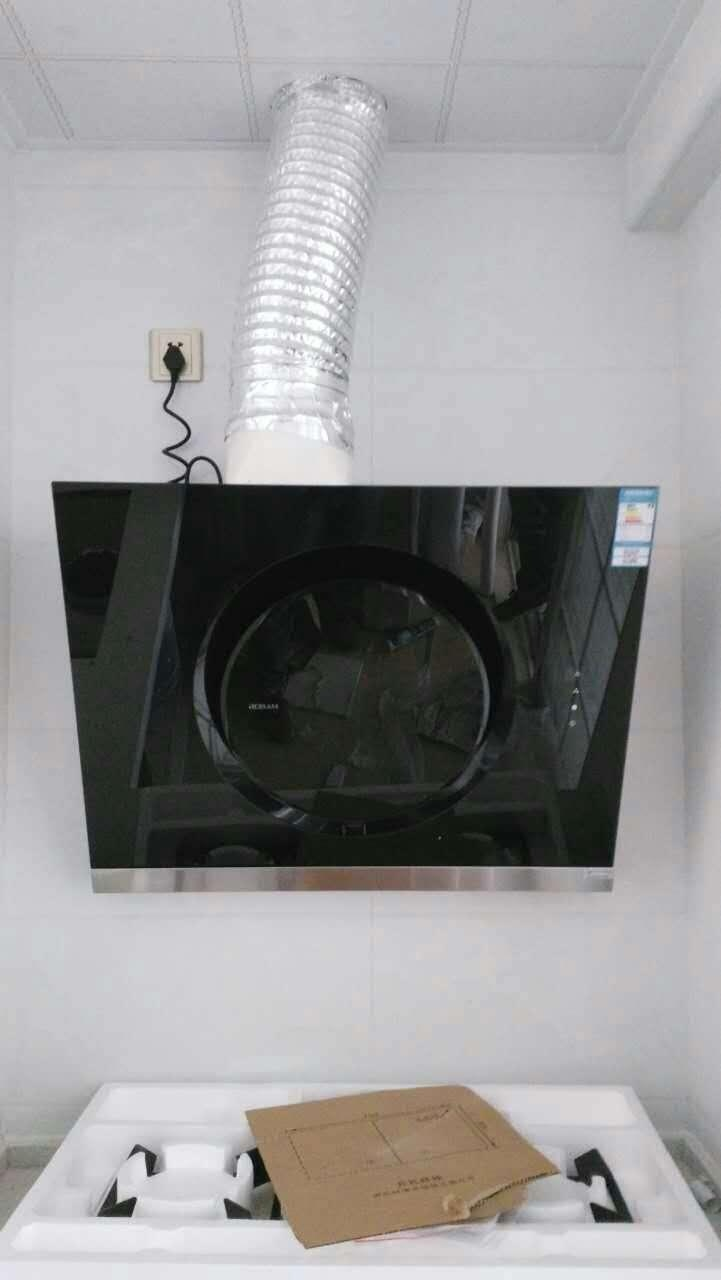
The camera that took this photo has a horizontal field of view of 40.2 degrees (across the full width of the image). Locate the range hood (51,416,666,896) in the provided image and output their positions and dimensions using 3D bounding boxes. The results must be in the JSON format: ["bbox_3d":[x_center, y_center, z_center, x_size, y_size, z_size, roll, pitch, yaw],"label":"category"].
[{"bbox_3d":[-0.008,0.064,1.210,0.684,0.497,0.169,1,4,-2],"label":"range hood"}]
